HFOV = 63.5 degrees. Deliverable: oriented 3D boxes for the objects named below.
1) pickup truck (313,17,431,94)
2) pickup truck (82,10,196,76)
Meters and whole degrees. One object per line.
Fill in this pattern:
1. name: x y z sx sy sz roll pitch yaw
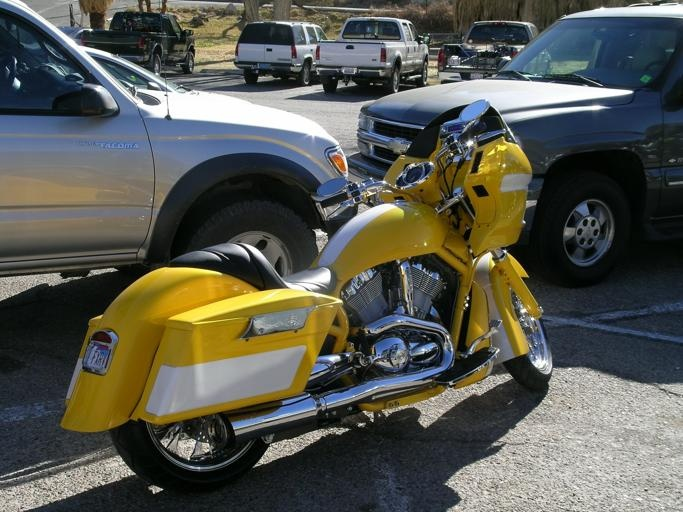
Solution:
1. pickup truck: 1.274 -7.739 21.133 3.731 1.941 5.431 8 19 28
2. pickup truck: -7.959 -8.491 22.133 2.915 1.599 4.838 8 25 5
